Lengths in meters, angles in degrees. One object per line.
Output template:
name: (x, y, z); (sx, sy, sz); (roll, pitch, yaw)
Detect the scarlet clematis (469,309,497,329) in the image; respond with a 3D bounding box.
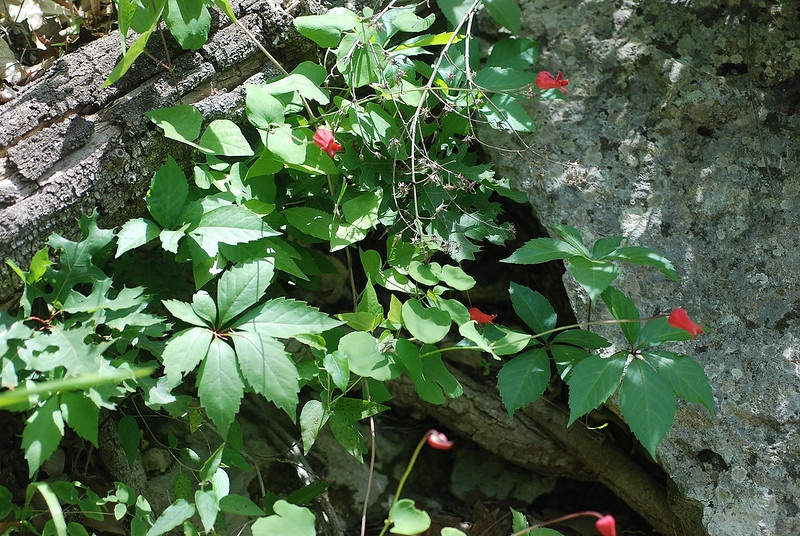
scarlet clematis: (0.400, 0.242, 3.432); (0.141, 0.093, 0.038); (19, -11, -27)

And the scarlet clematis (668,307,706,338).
scarlet clematis: (1.282, 0.242, 3.154); (0.124, 0.137, 0.202); (-22, 5, 19)

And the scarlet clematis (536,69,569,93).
scarlet clematis: (0.724, -0.888, 3.371); (0.131, 0.100, 0.260); (-23, 5, 16)

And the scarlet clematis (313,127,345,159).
scarlet clematis: (-0.346, -0.588, 3.269); (0.100, 0.143, 0.142); (-23, 4, -5)
